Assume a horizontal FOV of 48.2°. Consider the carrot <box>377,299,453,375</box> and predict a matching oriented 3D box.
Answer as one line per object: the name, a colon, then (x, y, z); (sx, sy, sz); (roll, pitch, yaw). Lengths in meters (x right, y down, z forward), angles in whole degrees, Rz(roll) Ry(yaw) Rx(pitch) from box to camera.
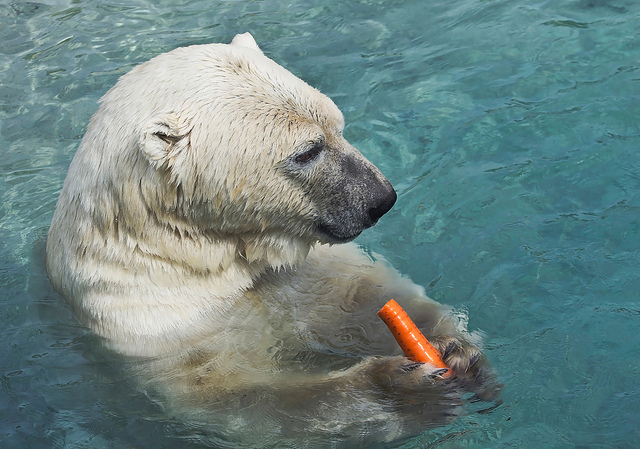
carrot: (0.525, 0.656, 4.281); (0.688, 0.181, 0.200); (38, 96, 6)
